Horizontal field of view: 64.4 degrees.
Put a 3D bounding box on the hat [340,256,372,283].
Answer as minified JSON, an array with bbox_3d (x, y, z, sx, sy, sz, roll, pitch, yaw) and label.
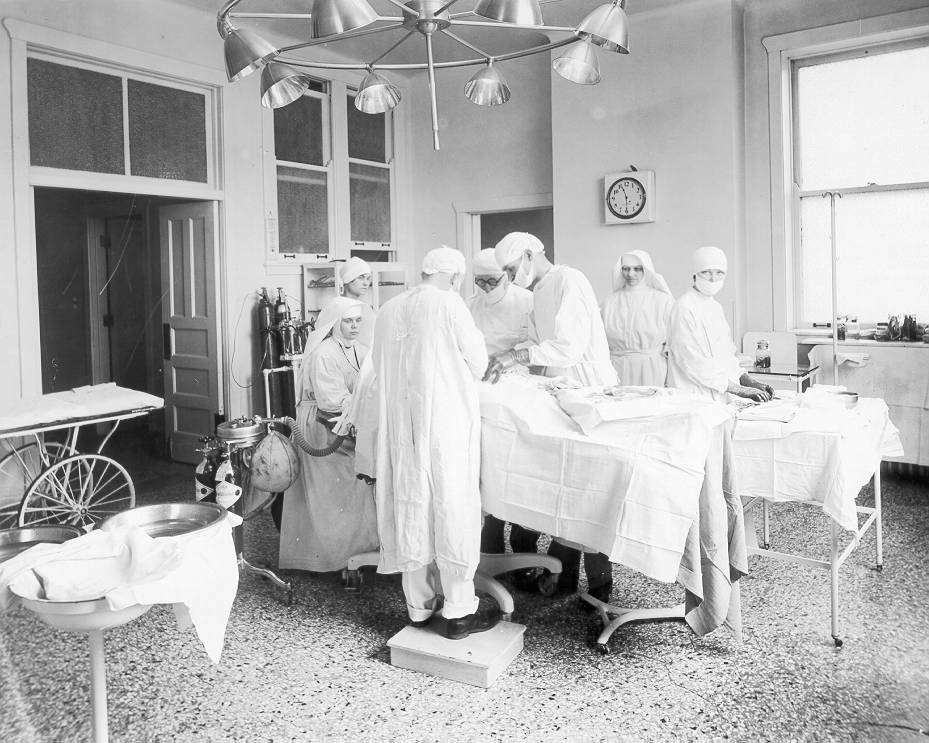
[{"bbox_3d":[-0.760,-0.693,5.027,0.182,0.166,0.248,-5,10,-19],"label":"hat"}]

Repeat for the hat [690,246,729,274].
[{"bbox_3d":[1.463,-0.662,4.439,0.191,0.170,0.194,-6,10,-43],"label":"hat"}]

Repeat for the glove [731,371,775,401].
[{"bbox_3d":[1.538,0.127,3.949,0.177,0.071,0.186,15,26,32],"label":"glove"}]

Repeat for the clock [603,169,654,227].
[{"bbox_3d":[1.443,-1.537,6.495,0.391,0.431,0.165,3,9,27],"label":"clock"}]

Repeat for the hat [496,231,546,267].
[{"bbox_3d":[0.303,-0.694,4.167,0.270,0.181,0.205,-1,9,1],"label":"hat"}]

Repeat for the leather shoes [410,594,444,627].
[{"bbox_3d":[-0.183,1.116,3.450,0.076,0.123,0.229,2,6,25],"label":"leather shoes"}]

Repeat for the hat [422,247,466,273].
[{"bbox_3d":[-0.087,-0.528,3.481,0.117,0.081,0.170,5,12,14],"label":"hat"}]

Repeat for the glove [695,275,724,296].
[{"bbox_3d":[1.478,-0.526,4.474,0.109,0.089,0.137,1,6,7],"label":"glove"}]

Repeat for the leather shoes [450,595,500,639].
[{"bbox_3d":[0.044,1.156,3.412,0.104,0.140,0.271,3,7,35],"label":"leather shoes"}]

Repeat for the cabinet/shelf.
[{"bbox_3d":[1.765,0.478,3.794,1.120,1.272,1.129,-1,3,25],"label":"cabinet/shelf"}]
